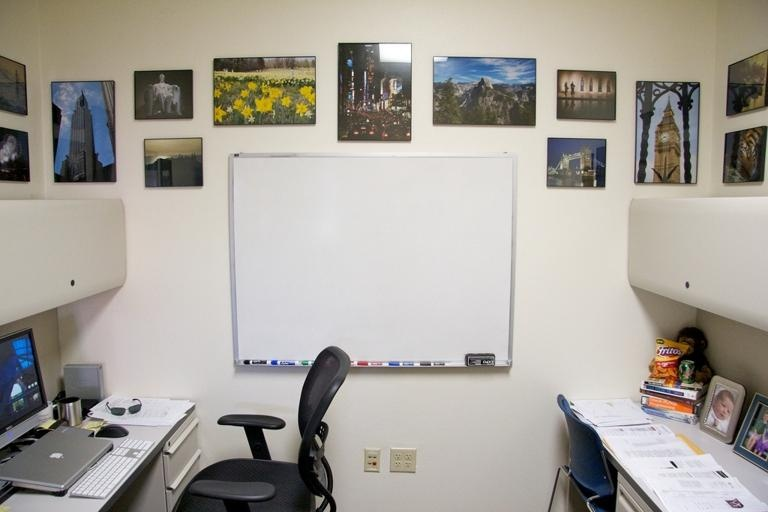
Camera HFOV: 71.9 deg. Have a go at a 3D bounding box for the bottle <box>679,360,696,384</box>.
[{"bbox_3d":[1.913,0.733,3.346,0.090,0.138,0.059,6,11,31],"label":"bottle"}]

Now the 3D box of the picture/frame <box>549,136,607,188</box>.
[{"bbox_3d":[1.244,-0.617,3.428,0.308,0.268,0.015,0,7,2],"label":"picture/frame"}]

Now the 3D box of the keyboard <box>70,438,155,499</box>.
[{"bbox_3d":[-1.544,1.212,3.025,0.256,0.036,0.520,7,13,1],"label":"keyboard"}]

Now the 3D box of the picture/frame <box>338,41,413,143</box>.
[{"bbox_3d":[-0.049,-1.081,3.402,0.582,0.732,0.014,0,8,3],"label":"picture/frame"}]

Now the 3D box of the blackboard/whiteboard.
[{"bbox_3d":[-0.035,-0.038,3.438,1.337,1.025,0.061,0,8,1],"label":"blackboard/whiteboard"}]

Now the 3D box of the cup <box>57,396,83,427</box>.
[{"bbox_3d":[-1.911,0.953,3.301,0.147,0.160,0.155,3,13,-1],"label":"cup"}]

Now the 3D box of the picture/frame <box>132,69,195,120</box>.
[{"bbox_3d":[-1.418,-1.055,3.431,0.303,0.266,0.012,-1,5,2],"label":"picture/frame"}]

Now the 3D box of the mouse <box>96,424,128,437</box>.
[{"bbox_3d":[-1.642,1.058,3.212,0.115,0.038,0.082,1,0,-1],"label":"mouse"}]
